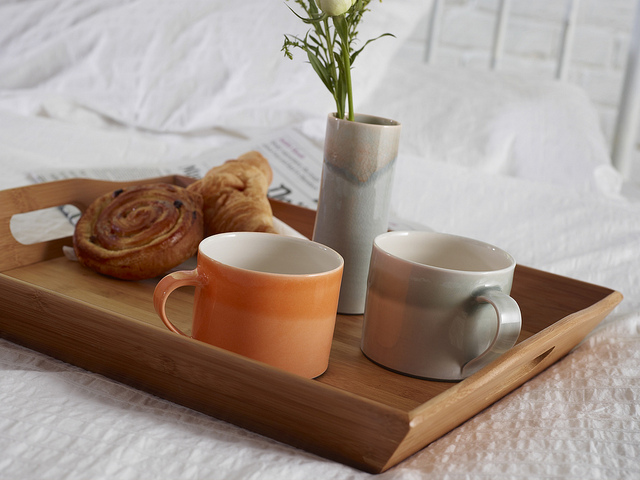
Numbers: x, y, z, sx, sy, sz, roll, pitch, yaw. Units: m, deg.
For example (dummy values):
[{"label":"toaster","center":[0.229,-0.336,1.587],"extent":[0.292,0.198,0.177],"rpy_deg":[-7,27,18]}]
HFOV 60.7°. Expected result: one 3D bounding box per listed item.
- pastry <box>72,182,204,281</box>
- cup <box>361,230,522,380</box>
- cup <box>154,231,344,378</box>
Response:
[{"label":"pastry","center":[-0.150,-0.013,0.467],"extent":[0.091,0.034,0.101],"rpy_deg":[17,42,17]},{"label":"cup","center":[0.080,0.045,0.378],"extent":[0.099,0.080,0.086],"rpy_deg":[10,25,6]},{"label":"cup","center":[-0.050,0.041,0.359],"extent":[0.125,0.075,0.090],"rpy_deg":[-2,17,-33]}]
